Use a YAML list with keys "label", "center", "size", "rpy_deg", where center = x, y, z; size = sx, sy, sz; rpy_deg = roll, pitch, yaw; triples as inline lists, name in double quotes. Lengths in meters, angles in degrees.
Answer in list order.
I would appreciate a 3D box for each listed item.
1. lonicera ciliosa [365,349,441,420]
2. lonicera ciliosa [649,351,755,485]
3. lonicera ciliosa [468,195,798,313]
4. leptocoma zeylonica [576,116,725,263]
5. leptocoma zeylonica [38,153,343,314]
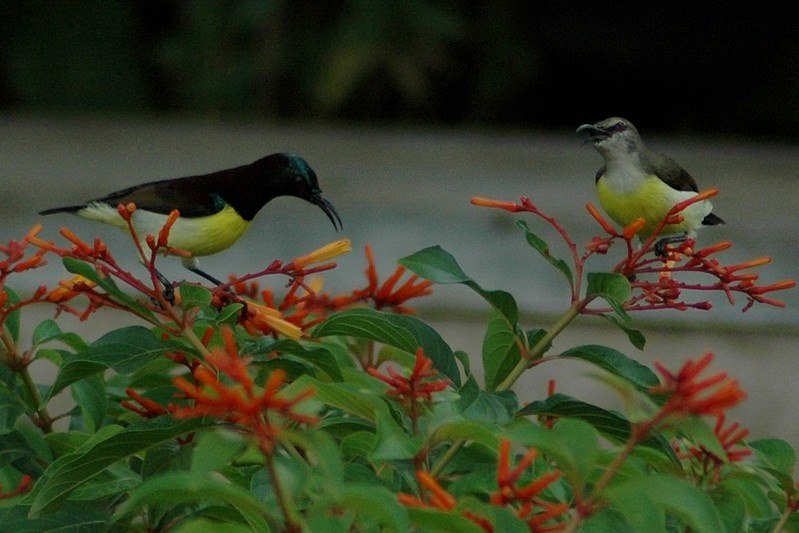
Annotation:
- label: "lonicera ciliosa"
  center: [0.029, 0.370, 3.336]
  size: [0.233, 0.215, 0.307]
  rpy_deg: [0, -12, -7]
- label: "lonicera ciliosa"
  center: [0.931, 0.461, 3.239]
  size: [0.235, 0.363, 0.660]
  rpy_deg: [-5, -12, 17]
- label: "lonicera ciliosa"
  center: [0.783, -0.005, 3.900]
  size: [1.056, 0.596, 0.839]
  rpy_deg: [-3, -2, -2]
- label: "leptocoma zeylonica"
  center: [0.945, -0.288, 4.083]
  size: [0.379, 0.503, 0.735]
  rpy_deg: [-8, 2, 36]
- label: "leptocoma zeylonica"
  center: [-0.804, -0.209, 3.984]
  size: [1.125, 0.524, 0.367]
  rpy_deg: [13, 6, 12]
